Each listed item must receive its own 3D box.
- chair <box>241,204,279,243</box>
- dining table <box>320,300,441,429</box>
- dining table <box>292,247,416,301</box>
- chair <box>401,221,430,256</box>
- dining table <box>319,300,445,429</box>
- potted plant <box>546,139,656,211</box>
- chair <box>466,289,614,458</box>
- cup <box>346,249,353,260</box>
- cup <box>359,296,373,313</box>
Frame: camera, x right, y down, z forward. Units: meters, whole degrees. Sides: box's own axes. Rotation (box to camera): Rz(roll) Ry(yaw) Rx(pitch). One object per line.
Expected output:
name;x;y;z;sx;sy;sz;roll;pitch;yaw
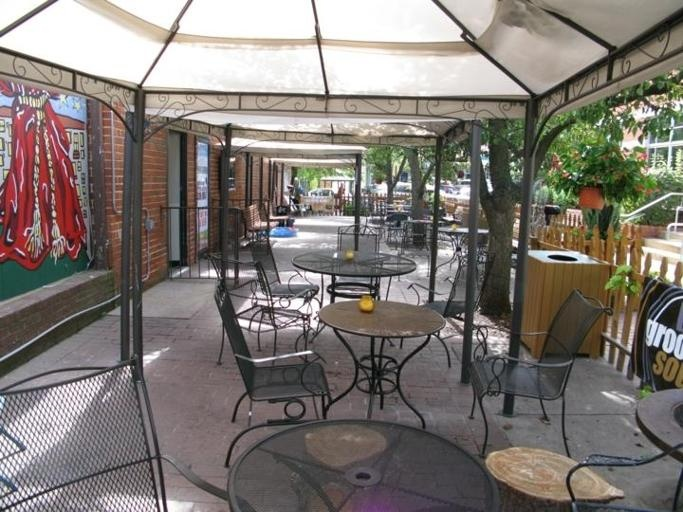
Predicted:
chair;-2.332;-0.884;14.560;0.679;0.870;1.460;-1;13;-1
dining table;0.360;0.989;4.995;1.122;1.038;1.119;-11;23;-32
dining table;0.157;0.165;6.812;1.019;0.530;1.053;4;12;13
chair;2.198;-0.496;15.058;0.979;1.185;1.004;-1;6;-5
dining table;0.397;1.003;4.931;1.120;1.042;1.122;-10;24;-31
potted plant;3.050;-0.807;6.117;0.867;0.684;0.974;22;30;32
chair;1.656;0.946;4.577;0.959;1.281;1.345;4;11;15
cup;0.109;-0.014;6.848;0.099;0.125;0.102;-4;-2;0
cup;0.231;0.432;4.813;0.161;0.155;0.222;2;11;4
